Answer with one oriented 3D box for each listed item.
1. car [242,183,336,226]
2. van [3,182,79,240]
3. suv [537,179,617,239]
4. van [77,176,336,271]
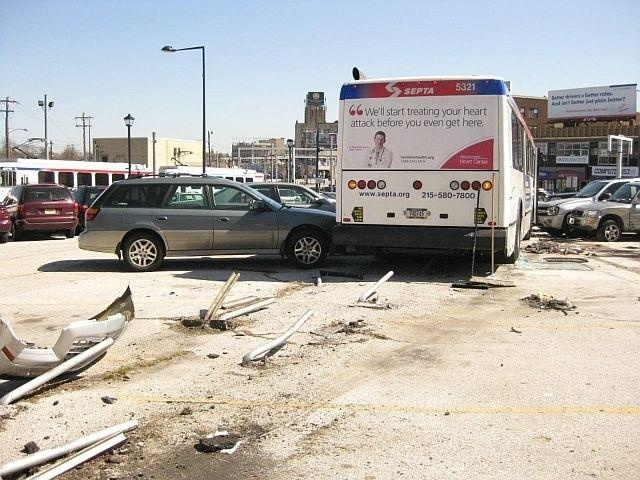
[{"bbox_3d":[-0.972,-1.292,19.854,2.678,0.981,1.209,-1,4,-6],"label":"car"},{"bbox_3d":[-9.751,-1.086,21.462,1.615,1.199,2.939,-2,9,-26],"label":"van"},{"bbox_3d":[10.143,-1.288,22.651,3.682,1.431,1.586,-2,1,-11],"label":"suv"},{"bbox_3d":[-2.482,-0.365,13.954,5.599,1.711,2.237,-2,1,-5],"label":"van"}]
